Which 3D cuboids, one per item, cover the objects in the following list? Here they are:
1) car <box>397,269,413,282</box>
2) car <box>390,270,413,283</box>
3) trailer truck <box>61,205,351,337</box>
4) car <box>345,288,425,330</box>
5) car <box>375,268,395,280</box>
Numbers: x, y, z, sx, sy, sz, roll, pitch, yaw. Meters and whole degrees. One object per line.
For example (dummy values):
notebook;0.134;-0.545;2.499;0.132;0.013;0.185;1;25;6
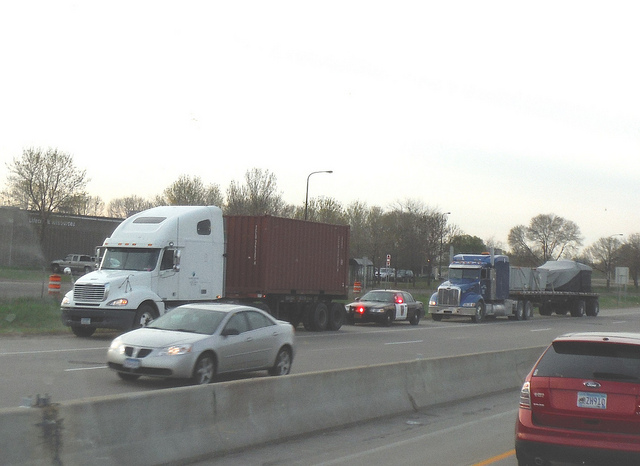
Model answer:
car;14.140;6.832;106.131;2.376;2.281;3.443;-5;-10;44
car;13.590;6.466;106.244;3.673;2.231;2.527;3;-4;-16
trailer truck;-3.878;1.270;26.435;4.484;5.584;14.032;-2;-7;37
car;3.222;3.729;32.529;4.133;1.765;1.797;5;-4;-43
car;10.856;6.713;104.436;2.177;2.273;4.334;2;5;27
